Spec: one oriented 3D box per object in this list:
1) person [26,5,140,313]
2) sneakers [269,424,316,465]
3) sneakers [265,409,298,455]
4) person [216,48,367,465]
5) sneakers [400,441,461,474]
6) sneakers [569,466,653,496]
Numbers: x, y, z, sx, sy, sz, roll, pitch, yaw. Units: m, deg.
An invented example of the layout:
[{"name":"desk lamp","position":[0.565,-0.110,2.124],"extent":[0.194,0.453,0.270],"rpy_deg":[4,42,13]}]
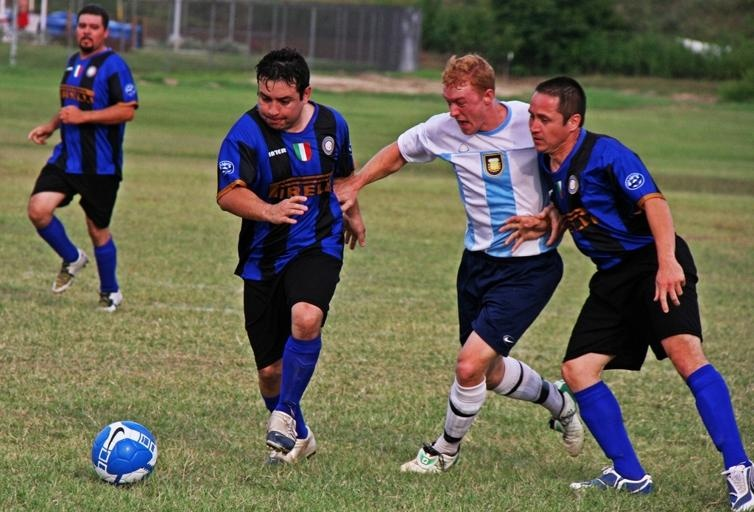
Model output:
[{"name":"person","position":[-2.899,-0.981,11.280],"extent":[1.026,2.952,0.813],"rpy_deg":[0,12,-13]},{"name":"sneakers","position":[-0.676,1.592,9.446],"extent":[0.171,0.203,0.479],"rpy_deg":[3,4,26]},{"name":"sneakers","position":[-0.766,1.414,9.143],"extent":[0.233,0.332,0.282],"rpy_deg":[2,12,-6]},{"name":"person","position":[-0.674,-0.150,9.384],"extent":[0.843,3.051,1.074],"rpy_deg":[12,14,38]},{"name":"sneakers","position":[0.452,1.652,9.372],"extent":[0.408,0.173,0.231],"rpy_deg":[-2,1,-8]},{"name":"sneakers","position":[1.875,1.789,9.218],"extent":[0.680,0.275,0.243],"rpy_deg":[4,-9,2]}]
